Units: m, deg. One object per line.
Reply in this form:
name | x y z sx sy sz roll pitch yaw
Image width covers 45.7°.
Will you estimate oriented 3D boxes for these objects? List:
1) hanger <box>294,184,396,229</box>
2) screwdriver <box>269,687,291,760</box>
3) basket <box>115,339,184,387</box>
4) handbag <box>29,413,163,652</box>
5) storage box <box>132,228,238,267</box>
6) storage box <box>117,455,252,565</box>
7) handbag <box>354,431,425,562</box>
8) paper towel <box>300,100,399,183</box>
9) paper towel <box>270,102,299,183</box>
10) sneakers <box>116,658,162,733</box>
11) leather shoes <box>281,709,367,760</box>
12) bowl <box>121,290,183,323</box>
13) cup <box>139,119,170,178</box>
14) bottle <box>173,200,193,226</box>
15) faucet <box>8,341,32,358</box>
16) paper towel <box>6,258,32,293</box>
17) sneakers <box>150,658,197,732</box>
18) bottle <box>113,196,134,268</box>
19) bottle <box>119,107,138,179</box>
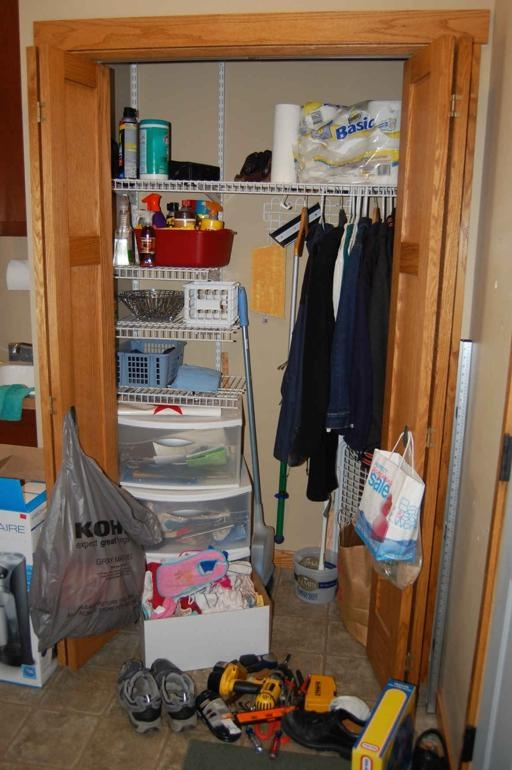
hanger | 0.322 -0.663 2.245 0.390 0.131 0.470 -1 10 3
screwdriver | 0.069 0.999 1.746 0.051 0.094 0.027 23 -29 -2
basket | -0.388 -0.076 2.316 0.162 0.089 0.231 2 11 2
handbag | -0.501 0.437 1.934 0.106 0.755 0.460 7 12 44
storage box | -0.202 -0.482 2.144 0.305 0.136 0.216 -5 10 -23
storage box | -0.193 0.438 2.319 0.335 0.230 0.353 -1 3 1
handbag | 0.348 0.318 1.584 0.129 0.269 0.219 0 9 5
paper towel | 0.314 -0.797 1.984 0.322 0.252 0.081 7 33 17
paper towel | 0.105 -0.880 2.155 0.098 0.281 0.098 -5 0 10
sneakers | -0.352 0.922 1.852 0.081 0.093 0.209 -4 22 -18
leather shoes | 0.209 0.979 1.752 0.248 0.126 0.098 15 16 0
bowl | -0.388 -0.303 2.292 0.227 0.118 0.233 -1 10 0
cup | -0.353 -0.804 2.125 0.113 0.212 0.118 2 8 0
bottle | -0.252 -0.607 2.148 0.074 0.113 0.204 -2 10 -5
faucet | -1.118 -0.167 2.870 0.121 0.073 0.086 4 0 0
paper towel | -1.040 -0.484 2.649 0.087 0.131 0.202 -5 10 -23
sneakers | -0.240 0.928 1.812 0.081 0.090 0.217 -3 27 -18
bottle | -0.486 -0.558 2.204 0.071 0.254 0.144 -3 9 -11
bottle | -0.438 -0.833 2.109 0.062 0.241 0.091 -5 9 -22
